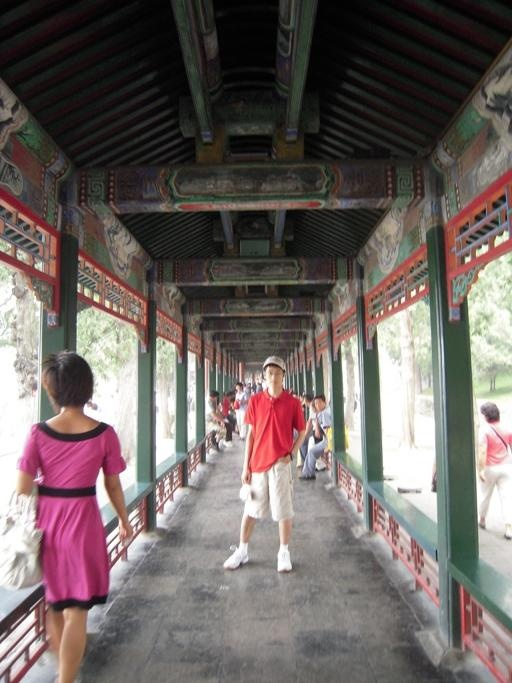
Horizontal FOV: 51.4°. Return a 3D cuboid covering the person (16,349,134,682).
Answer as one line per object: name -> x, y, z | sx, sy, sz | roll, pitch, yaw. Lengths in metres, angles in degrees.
person -> -0.714, 0.542, 2.131 | 0.416, 0.997, 0.243 | 0, -2, -19

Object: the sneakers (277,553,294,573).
sneakers -> 0.192, 1.463, 3.550 | 0.057, 0.143, 0.128 | 1, -23, -1

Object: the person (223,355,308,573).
person -> 0.074, 0.819, 3.654 | 0.521, 1.407, 0.288 | 0, -2, 6
